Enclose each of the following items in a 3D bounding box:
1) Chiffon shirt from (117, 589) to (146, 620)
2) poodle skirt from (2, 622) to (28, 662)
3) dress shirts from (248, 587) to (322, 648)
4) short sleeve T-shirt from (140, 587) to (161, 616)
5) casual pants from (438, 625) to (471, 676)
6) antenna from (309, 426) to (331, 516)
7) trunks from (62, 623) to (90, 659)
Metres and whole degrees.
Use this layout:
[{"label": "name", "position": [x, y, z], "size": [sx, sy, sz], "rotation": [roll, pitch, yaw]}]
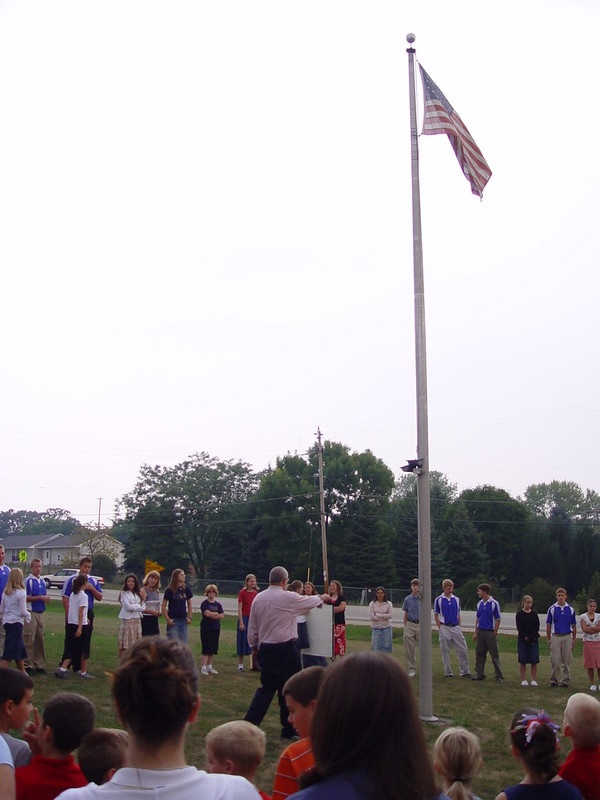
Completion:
[{"label": "Chiffon shirt", "position": [-2.369, 2.882, 12.358], "size": [0.358, 0.526, 0.416], "rotation": [-15, -16, 40]}, {"label": "poodle skirt", "position": [-3.432, 2.913, 10.545], "size": [0.285, 0.461, 0.237], "rotation": [4, -13, -16]}, {"label": "dress shirts", "position": [-0.175, 2.029, 8.414], "size": [0.741, 0.572, 0.320], "rotation": [-2, -8, 12]}, {"label": "short sleeve T-shirt", "position": [-2.184, 2.925, 12.754], "size": [0.233, 0.394, 0.396], "rotation": [-11, -14, 19]}, {"label": "casual pants", "position": [2.713, 4.381, 15.388], "size": [0.455, 1.073, 0.286], "rotation": [-2, -52, 7]}, {"label": "antenna", "position": [1.196, 3.931, 47.826], "size": [0.850, 4.611, 0.933], "rotation": [-1, 5, 26]}, {"label": "trunks", "position": [-2.931, 3.207, 11.559], "size": [0.313, 0.509, 0.363], "rotation": [3, -13, -13]}]
